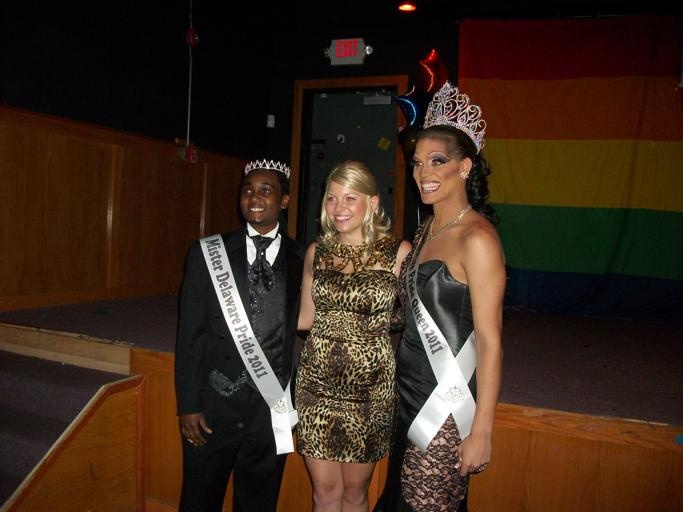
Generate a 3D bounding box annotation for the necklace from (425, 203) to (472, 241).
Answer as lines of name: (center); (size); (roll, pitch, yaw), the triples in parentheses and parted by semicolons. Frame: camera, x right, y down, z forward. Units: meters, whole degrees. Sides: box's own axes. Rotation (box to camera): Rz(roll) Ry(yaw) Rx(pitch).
necklace: (0.483, -0.149, 2.513); (0.045, 0.179, 0.143); (25, 28, -36)
